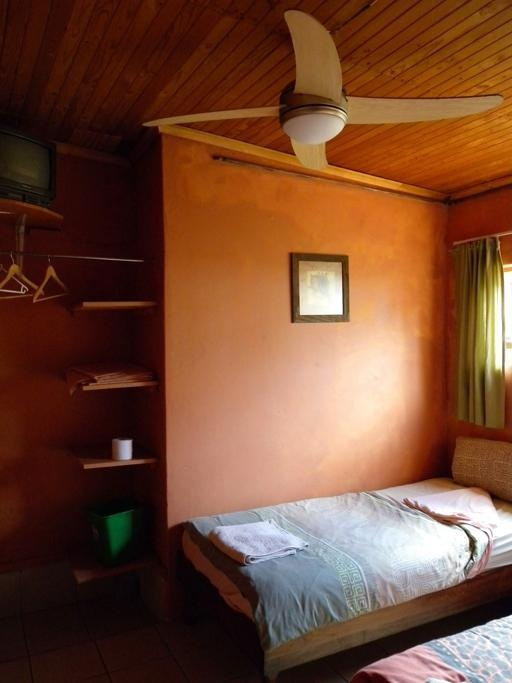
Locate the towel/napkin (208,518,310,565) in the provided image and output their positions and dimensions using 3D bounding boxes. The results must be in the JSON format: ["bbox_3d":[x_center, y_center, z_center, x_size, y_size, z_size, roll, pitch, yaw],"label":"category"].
[{"bbox_3d":[0.009,0.899,2.496,0.351,0.058,0.362,-1,5,-32],"label":"towel/napkin"}]

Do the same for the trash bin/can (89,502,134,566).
[{"bbox_3d":[-0.762,0.995,2.940,0.318,0.253,0.246,-1,0,-20],"label":"trash bin/can"}]

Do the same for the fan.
[{"bbox_3d":[0.275,-0.877,1.896,0.864,0.363,0.717,-1,5,-35],"label":"fan"}]

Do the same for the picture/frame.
[{"bbox_3d":[0.394,-0.318,3.354,0.400,0.387,0.022,5,9,42],"label":"picture/frame"}]

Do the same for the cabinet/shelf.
[{"bbox_3d":[-0.781,0.552,3.008,0.458,1.544,0.590,0,4,-21],"label":"cabinet/shelf"}]

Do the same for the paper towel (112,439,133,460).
[{"bbox_3d":[-0.685,0.565,2.894,0.105,0.102,0.102,-2,-5,20],"label":"paper towel"}]

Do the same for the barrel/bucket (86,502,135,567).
[{"bbox_3d":[-0.760,0.986,2.940,0.318,0.254,0.250,0,-1,-23],"label":"barrel/bucket"}]
